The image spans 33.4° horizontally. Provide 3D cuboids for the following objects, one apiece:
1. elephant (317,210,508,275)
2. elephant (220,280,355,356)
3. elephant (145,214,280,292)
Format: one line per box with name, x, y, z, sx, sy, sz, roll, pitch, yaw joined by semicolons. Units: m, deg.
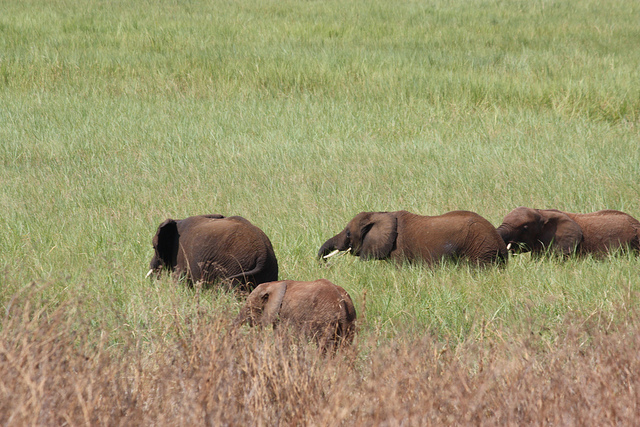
elephant;1.788;0.305;20.185;3.297;1.835;1.434;1;-9;14
elephant;-0.533;1.941;18.942;2.434;1.528;1.017;-2;3;32
elephant;-1.842;0.715;19.624;2.475;1.419;1.187;5;2;35
